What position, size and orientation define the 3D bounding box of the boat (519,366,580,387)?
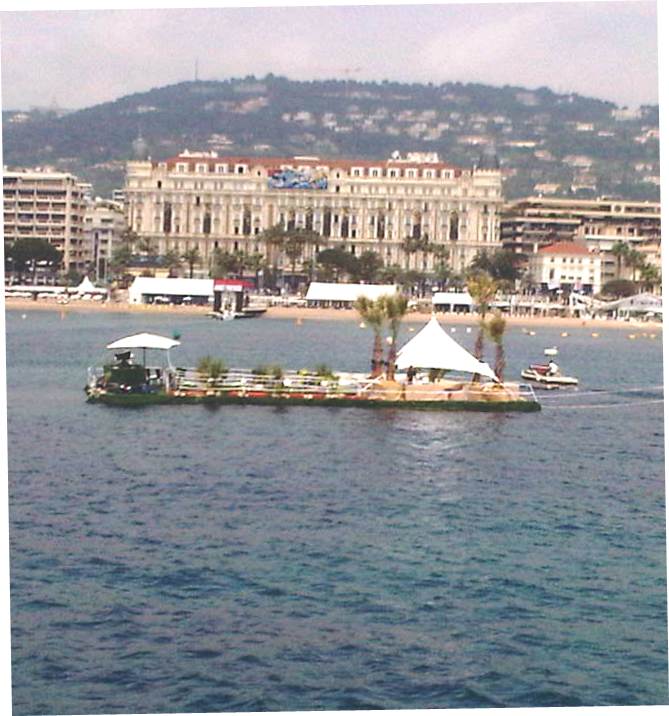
[{"bbox_3d":[13.631,1.227,111.004,2.803,1.167,1.550,10,2,20],"label":"boat"}]
